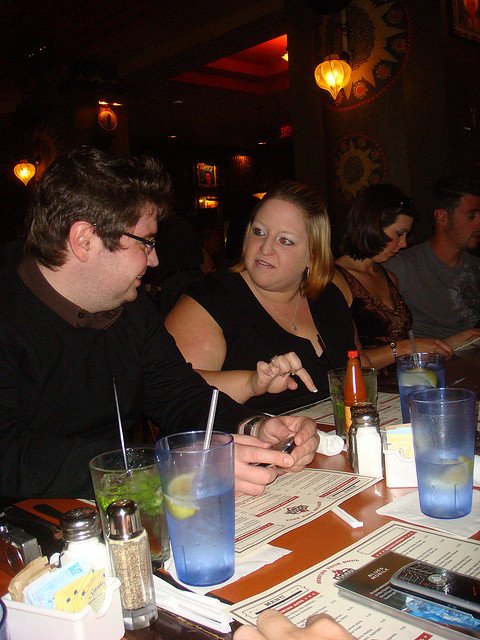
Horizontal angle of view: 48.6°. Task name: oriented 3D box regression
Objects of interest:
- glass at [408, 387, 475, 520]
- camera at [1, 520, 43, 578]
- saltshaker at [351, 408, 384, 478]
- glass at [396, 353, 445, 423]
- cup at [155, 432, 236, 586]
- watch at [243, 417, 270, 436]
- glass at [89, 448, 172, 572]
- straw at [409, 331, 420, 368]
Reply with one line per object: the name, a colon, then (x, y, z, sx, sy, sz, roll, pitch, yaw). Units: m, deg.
glass: (0.311, 0.215, 0.881, 0.113, 0.188, 0.092, 1, 11, 3)
camera: (-0.311, 0.322, 0.743, 0.102, 0.048, 0.029, -1, 7, 43)
saltshaker: (0.246, 0.235, 1.030, 0.059, 0.124, 0.065, -5, 5, 11)
glass: (0.452, 0.174, 1.330, 0.125, 0.175, 0.125, -2, 1, 36)
cup: (-0.046, 0.255, 0.708, 0.103, 0.172, 0.073, -7, 5, -10)
watch: (0.045, 0.240, 1.234, 0.081, 0.030, 0.042, -9, 6, -43)
glass: (-0.162, 0.247, 0.778, 0.127, 0.147, 0.126, 14, 16, 41)
straw: (0.566, 0.092, 1.733, 0.018, 0.100, 0.016, -8, -12, 25)
